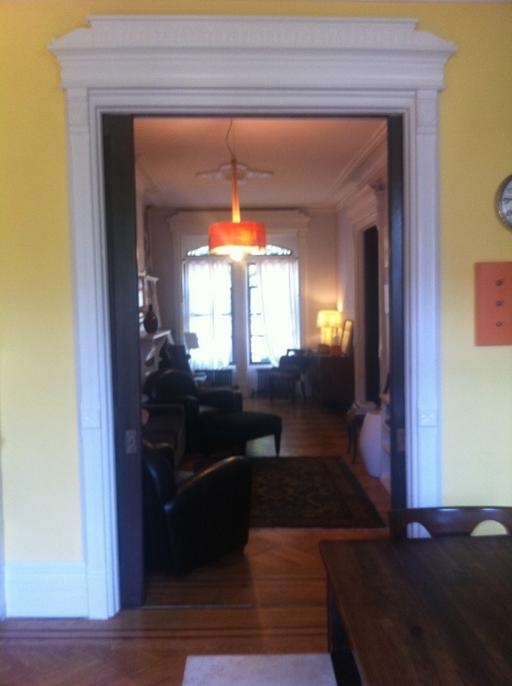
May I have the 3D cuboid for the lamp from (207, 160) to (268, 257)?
[{"bbox_3d":[-0.154,-1.016,5.114,0.400,0.695,0.444,-5,-4,20],"label":"lamp"}]

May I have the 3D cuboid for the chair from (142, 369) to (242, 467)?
[{"bbox_3d":[-0.546,0.558,5.981,0.644,0.816,0.729,-1,4,-2],"label":"chair"}]

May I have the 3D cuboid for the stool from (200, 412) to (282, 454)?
[{"bbox_3d":[-0.136,0.760,5.824,0.673,0.394,0.372,-2,5,-1],"label":"stool"}]

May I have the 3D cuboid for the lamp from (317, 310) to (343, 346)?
[{"bbox_3d":[0.929,-0.208,8.910,0.334,0.573,0.357,1,5,16],"label":"lamp"}]

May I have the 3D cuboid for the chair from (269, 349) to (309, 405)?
[{"bbox_3d":[0.410,0.425,9.080,0.487,0.868,0.571,1,1,30],"label":"chair"}]

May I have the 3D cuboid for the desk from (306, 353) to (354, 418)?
[{"bbox_3d":[0.910,0.440,8.406,0.506,0.673,0.907,-1,5,7],"label":"desk"}]
